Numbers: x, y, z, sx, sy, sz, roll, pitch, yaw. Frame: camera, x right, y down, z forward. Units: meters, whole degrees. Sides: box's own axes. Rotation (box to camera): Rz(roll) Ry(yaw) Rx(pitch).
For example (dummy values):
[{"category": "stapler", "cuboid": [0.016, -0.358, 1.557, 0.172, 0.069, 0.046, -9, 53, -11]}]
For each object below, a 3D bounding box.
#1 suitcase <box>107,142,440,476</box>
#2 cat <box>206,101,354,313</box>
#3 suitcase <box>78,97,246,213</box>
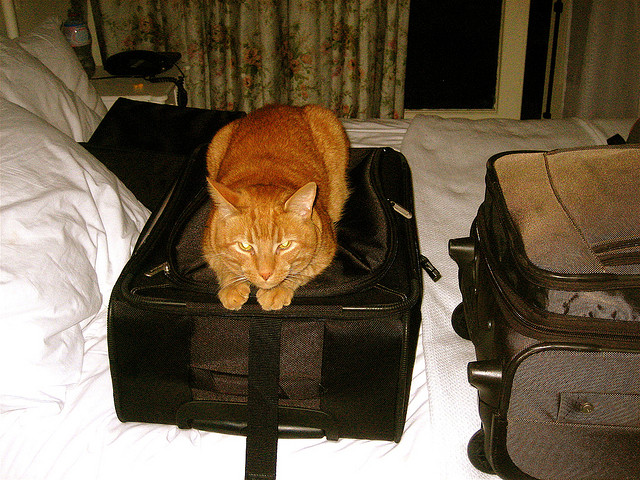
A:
[{"category": "suitcase", "cuboid": [-0.116, 0.164, 1.609, 0.778, 0.518, 0.782, 3, 26, 10]}, {"category": "cat", "cuboid": [-0.138, -0.137, 1.700, 0.391, 0.346, 0.645, 6, 53, 0]}, {"category": "suitcase", "cuboid": [-0.595, -0.372, 2.129, 0.468, 0.177, 0.487, 12, 39, 10]}]
